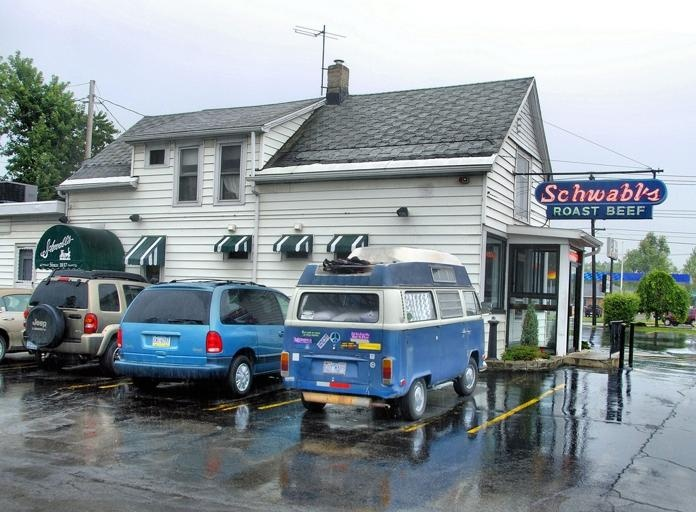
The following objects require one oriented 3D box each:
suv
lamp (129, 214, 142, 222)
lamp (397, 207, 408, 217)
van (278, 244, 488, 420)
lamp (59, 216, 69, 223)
[{"bbox_3d":[-5.647,1.233,14.099,1.816,1.426,3.044,1,3,29],"label":"suv"},{"bbox_3d":[-6.886,-1.211,20.249,0.285,0.179,0.292,4,5,45],"label":"lamp"},{"bbox_3d":[1.448,-1.180,16.861,0.324,0.256,0.322,2,0,20],"label":"lamp"},{"bbox_3d":[0.787,1.308,11.283,1.831,2.905,3.452,2,0,42],"label":"van"},{"bbox_3d":[-9.718,-1.234,21.405,0.301,0.304,0.596,2,0,-25],"label":"lamp"}]
